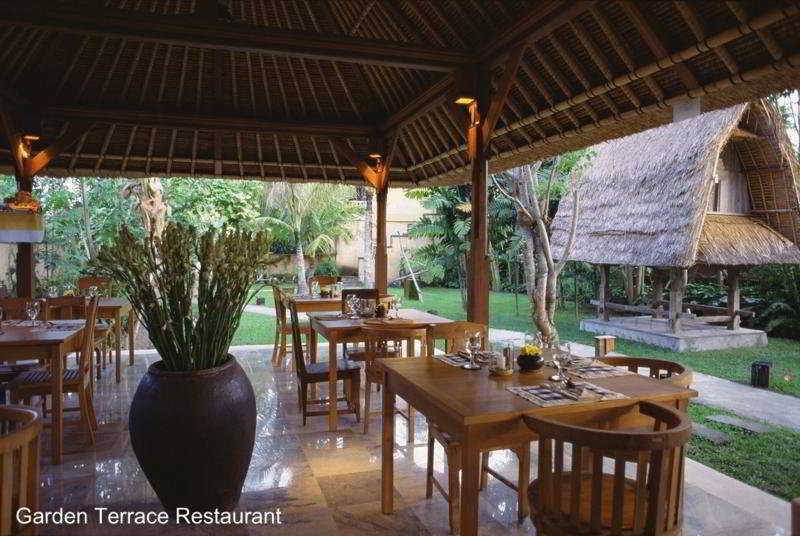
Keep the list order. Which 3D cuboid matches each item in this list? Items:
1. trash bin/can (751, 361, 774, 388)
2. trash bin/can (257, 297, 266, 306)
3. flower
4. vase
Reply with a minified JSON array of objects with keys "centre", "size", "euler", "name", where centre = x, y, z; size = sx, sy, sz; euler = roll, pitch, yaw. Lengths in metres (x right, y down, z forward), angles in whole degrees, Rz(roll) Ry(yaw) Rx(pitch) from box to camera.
[{"centre":[5.075,1.487,7.598],"size":[0.222,0.277,0.379],"euler":[-2,-2,33],"name":"trash bin/can"},{"centre":[-3.911,0.921,15.135],"size":[0.227,0.225,0.228],"euler":[1,-3,-23],"name":"trash bin/can"},{"centre":[-1.625,0.120,4.037],"size":[1.198,1.026,1.081],"euler":[0,3,-31],"name":"flower"},{"centre":[-1.469,1.217,4.142],"size":[1.076,1.175,1.036],"euler":[-1,-5,-6],"name":"vase"}]
